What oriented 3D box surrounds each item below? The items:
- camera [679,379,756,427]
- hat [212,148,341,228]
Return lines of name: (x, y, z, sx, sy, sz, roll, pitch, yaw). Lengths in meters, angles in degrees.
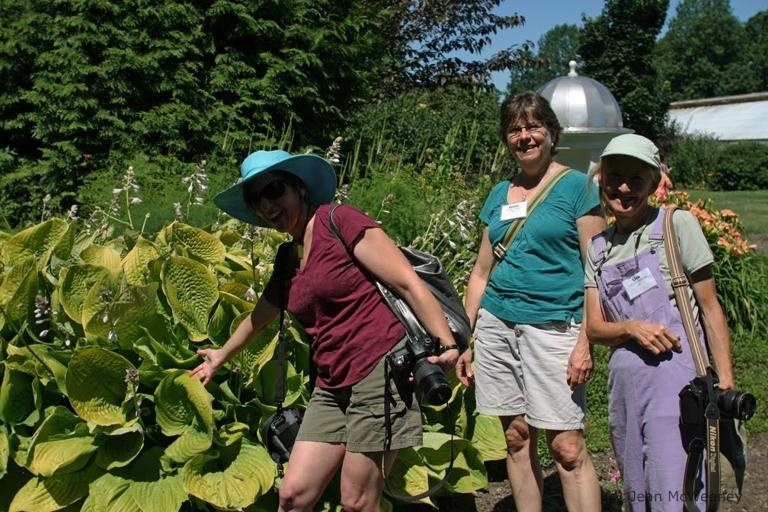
camera: (1.955, 0.821, 3.890, 0.356, 0.227, 0.360, -8, 1, -34)
hat: (-0.641, -0.534, 4.173, 0.550, 0.255, 0.633, -38, -30, 28)
